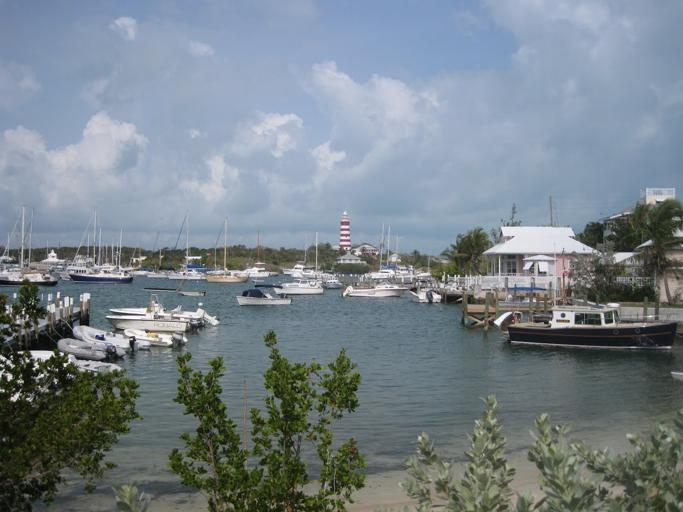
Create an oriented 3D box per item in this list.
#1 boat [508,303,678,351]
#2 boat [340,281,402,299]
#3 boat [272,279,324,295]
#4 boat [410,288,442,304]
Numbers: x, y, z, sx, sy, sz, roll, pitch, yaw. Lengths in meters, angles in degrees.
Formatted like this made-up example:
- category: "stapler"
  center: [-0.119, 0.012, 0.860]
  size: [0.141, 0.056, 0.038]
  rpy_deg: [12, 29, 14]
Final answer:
- category: "boat"
  center: [13.583, 4.381, 40.055]
  size: [9.167, 3.087, 3.067]
  rpy_deg: [-4, -3, 35]
- category: "boat"
  center: [3.590, 4.846, 97.994]
  size: [8.706, 2.940, 2.942]
  rpy_deg: [-1, 1, 34]
- category: "boat"
  center: [-5.848, 4.607, 104.183]
  size: [4.548, 1.856, 2.910]
  rpy_deg: [-3, 3, 3]
- category: "boat"
  center: [9.941, 4.840, 87.253]
  size: [2.512, 1.632, 6.084]
  rpy_deg: [2, -5, -9]
